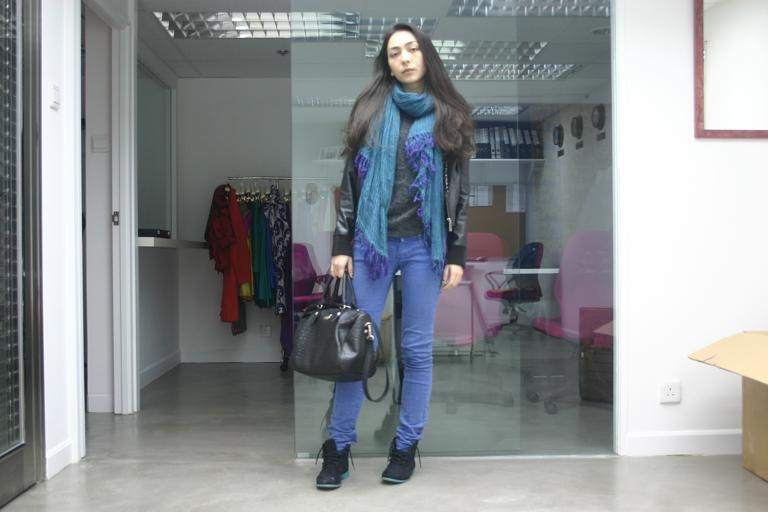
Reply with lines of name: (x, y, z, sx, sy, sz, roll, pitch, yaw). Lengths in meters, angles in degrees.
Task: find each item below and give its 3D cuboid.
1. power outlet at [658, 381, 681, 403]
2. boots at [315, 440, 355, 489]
power outlet: (1.572, 0.746, 3.385, 0.121, 0.117, 0.112, 0, 1, 5)
boots: (-0.255, 1.025, 3.011, 0.125, 0.213, 0.167, 1, 9, 11)
